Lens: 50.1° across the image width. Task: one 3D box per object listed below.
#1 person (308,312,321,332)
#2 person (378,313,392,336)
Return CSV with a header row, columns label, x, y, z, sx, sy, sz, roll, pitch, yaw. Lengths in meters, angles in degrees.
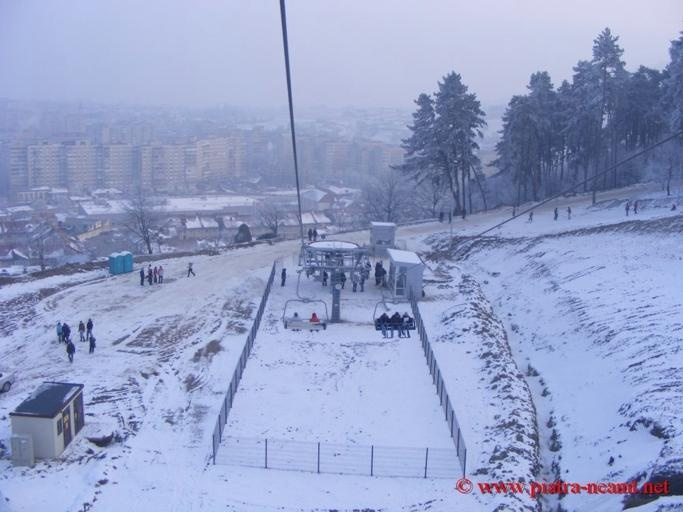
label,x,y,z,sx,sy,sz,roll,pitch,yaw
person,-1.987,4.881,53.257,0.809,1.211,1.032,0,10,-6
person,3.078,5.007,52.095,0.802,0.625,1.579,2,43,-2
